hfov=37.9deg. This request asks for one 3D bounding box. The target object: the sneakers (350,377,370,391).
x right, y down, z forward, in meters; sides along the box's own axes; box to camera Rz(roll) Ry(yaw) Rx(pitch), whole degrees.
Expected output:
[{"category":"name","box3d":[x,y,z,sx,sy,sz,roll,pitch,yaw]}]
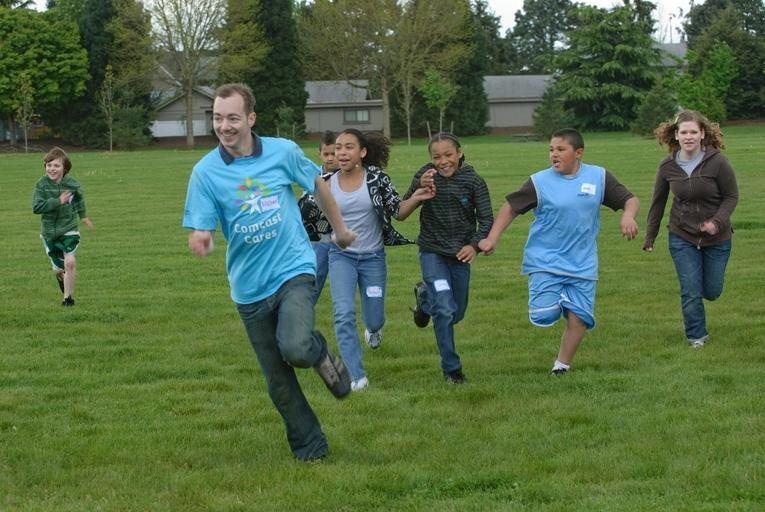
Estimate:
[{"category":"sneakers","box3d":[-0.333,1.875,16.324,0.295,0.174,0.192,-4,9,-16]}]

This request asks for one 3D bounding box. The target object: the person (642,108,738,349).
[{"category":"person","box3d":[4.823,-0.475,17.409,0.986,3.607,1.090,-7,10,-34]}]

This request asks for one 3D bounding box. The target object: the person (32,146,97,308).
[{"category":"person","box3d":[-5.743,-0.566,19.843,0.865,2.693,1.206,-3,9,-8]}]

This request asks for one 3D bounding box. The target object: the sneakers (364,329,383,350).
[{"category":"sneakers","box3d":[-0.147,1.293,17.472,0.164,0.393,0.171,-6,43,-1]}]
